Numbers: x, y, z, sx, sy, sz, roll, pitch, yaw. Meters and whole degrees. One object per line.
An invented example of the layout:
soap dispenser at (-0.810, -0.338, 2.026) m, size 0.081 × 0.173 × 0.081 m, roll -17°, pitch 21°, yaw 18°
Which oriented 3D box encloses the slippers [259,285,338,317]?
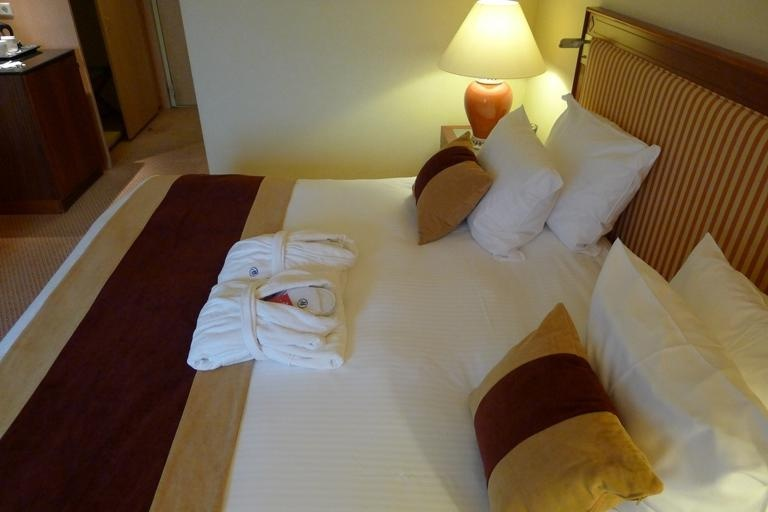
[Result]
slippers at (-0.300, 0.167, 2.111) m, size 0.216 × 0.060 × 0.129 m, roll -1°, pitch 38°, yaw -27°
